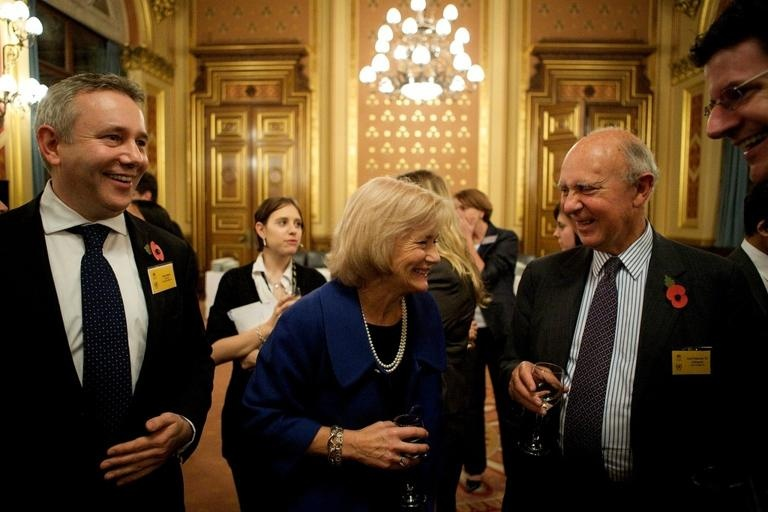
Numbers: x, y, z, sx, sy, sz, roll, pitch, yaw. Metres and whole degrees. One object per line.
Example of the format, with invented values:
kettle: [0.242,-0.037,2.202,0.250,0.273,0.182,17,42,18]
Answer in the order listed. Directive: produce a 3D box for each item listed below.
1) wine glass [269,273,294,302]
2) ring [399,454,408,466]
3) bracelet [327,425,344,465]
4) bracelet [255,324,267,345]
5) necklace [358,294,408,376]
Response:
wine glass: [-0.578,0.193,3.350,0.126,0.140,0.145,0,-10,-4]
ring: [0.081,0.866,2.489,0.034,0.047,0.009,-2,4,-25]
bracelet: [-0.209,0.816,2.500,0.079,0.146,0.135,3,9,0]
bracelet: [-0.658,0.417,3.120,0.086,0.119,0.039,2,-10,-13]
necklace: [0.048,0.365,2.676,0.173,0.312,0.056,3,-16,-17]
